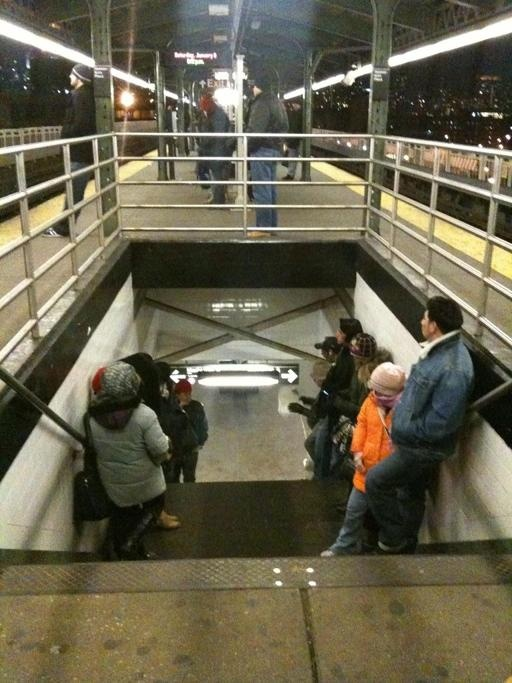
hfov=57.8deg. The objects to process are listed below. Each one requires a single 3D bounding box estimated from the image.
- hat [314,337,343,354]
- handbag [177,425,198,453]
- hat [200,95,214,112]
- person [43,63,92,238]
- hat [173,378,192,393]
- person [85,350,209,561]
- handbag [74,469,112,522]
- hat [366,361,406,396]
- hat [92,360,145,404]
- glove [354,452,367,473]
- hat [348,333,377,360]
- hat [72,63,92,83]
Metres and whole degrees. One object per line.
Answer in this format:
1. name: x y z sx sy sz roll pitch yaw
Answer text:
1. hat: 0.887 0.041 5.757 0.260 0.148 0.174 16 28 37
2. handbag: -0.884 1.171 5.534 0.219 0.351 0.354 0 -6 7
3. hat: -0.970 -4.735 9.176 0.239 0.280 0.353 5 -26 -7
4. person: -2.528 -2.637 6.401 0.617 2.350 0.808 -2 10 -19
5. hat: -0.970 0.585 6.101 0.145 0.150 0.191 3 -2 -44
6. person: -1.019 0.995 4.008 0.683 1.896 1.443 -1 10 -10
7. handbag: -1.269 1.162 3.536 0.193 0.384 0.258 2 1 -1
8. hat: 0.915 0.259 3.287 0.240 0.203 0.176 25 28 30
9. hat: -1.020 0.333 3.289 0.234 0.287 0.314 -22 -15 41
10. glove: 0.769 0.885 3.400 0.077 0.131 0.052 -15 -1 7
11. hat: 1.094 0.052 4.780 0.214 0.258 0.261 2 32 2
12. hat: -2.346 -3.628 6.185 0.222 0.086 0.307 -25 49 -23
